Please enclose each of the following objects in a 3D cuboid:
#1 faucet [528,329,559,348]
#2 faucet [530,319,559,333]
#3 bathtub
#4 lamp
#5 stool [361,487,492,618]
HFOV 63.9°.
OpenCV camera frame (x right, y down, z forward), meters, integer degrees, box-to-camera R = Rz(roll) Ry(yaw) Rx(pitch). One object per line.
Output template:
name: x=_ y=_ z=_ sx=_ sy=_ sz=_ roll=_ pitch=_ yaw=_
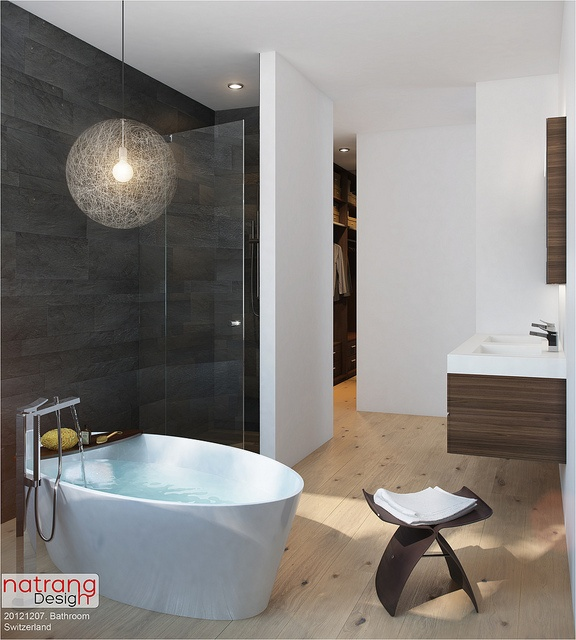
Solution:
faucet: x=1.539 y=0.102 z=2.809 sx=0.163 sy=0.115 sz=0.172 roll=-1 pitch=0 yaw=16
faucet: x=1.754 y=0.035 z=3.170 sx=0.135 sy=0.073 sz=0.082 roll=-2 pitch=4 yaw=-12
bathtub: x=-0.466 y=0.806 z=1.844 sx=0.830 sy=0.349 sz=0.622 roll=1 pitch=0 yaw=27
lamp: x=-0.770 y=-0.698 z=2.194 sx=0.497 sy=0.483 sz=0.190 roll=0 pitch=0 yaw=-27
stool: x=0.532 y=0.840 z=1.891 sx=0.419 sy=0.395 sz=0.438 roll=1 pitch=-4 yaw=-14
